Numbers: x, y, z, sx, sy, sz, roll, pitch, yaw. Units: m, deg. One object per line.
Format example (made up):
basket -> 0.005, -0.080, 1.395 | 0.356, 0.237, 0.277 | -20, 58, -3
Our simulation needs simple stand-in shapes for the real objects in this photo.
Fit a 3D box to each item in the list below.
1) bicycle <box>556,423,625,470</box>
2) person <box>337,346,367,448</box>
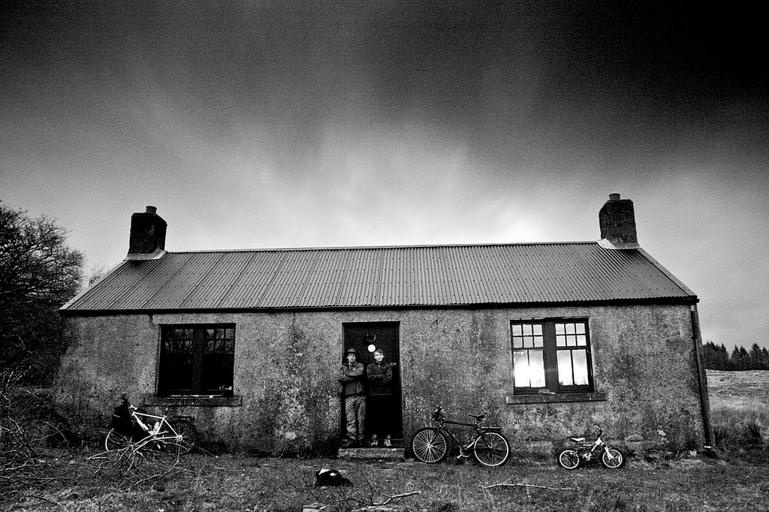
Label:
bicycle -> 6.480, 6.091, 18.830 | 2.105, 1.372, 1.049 | -2, -22, 4
person -> -1.043, 4.593, 19.594 | 0.895, 2.956, 1.054 | 0, 11, -4
